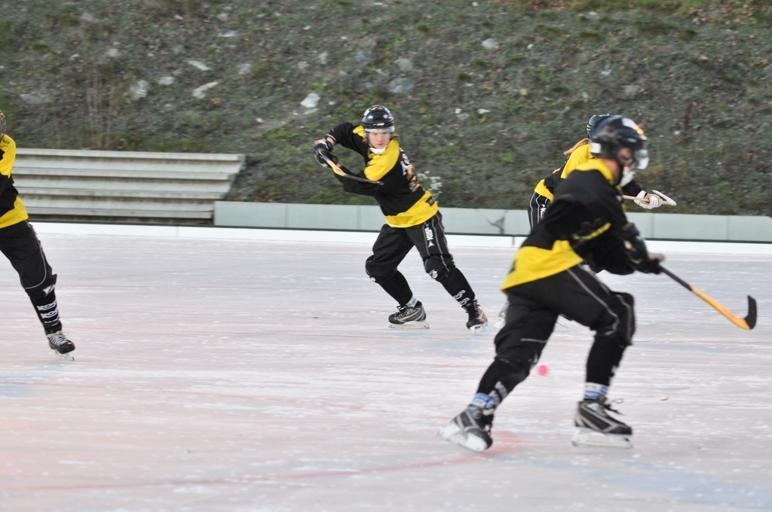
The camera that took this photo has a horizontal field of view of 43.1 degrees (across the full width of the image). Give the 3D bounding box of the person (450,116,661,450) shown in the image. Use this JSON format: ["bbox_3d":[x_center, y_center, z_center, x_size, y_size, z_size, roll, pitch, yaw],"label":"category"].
[{"bbox_3d":[1.308,0.187,7.211,1.534,2.465,0.687,0,11,-9],"label":"person"}]

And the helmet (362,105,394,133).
[{"bbox_3d":[-0.070,-1.248,8.944,0.278,0.237,0.203,1,9,-1],"label":"helmet"}]

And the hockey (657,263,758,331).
[{"bbox_3d":[3.278,0.444,10.040,1.562,0.384,0.036,22,-41,-14],"label":"hockey"}]

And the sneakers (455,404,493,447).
[{"bbox_3d":[0.631,1.259,7.129,0.283,0.327,0.147,1,11,1],"label":"sneakers"}]

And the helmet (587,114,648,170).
[{"bbox_3d":[1.722,-0.842,7.260,0.403,0.403,0.311,2,9,6],"label":"helmet"}]

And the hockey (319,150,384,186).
[{"bbox_3d":[-0.363,-0.816,9.144,0.310,0.306,0.601,-5,9,-36],"label":"hockey"}]
